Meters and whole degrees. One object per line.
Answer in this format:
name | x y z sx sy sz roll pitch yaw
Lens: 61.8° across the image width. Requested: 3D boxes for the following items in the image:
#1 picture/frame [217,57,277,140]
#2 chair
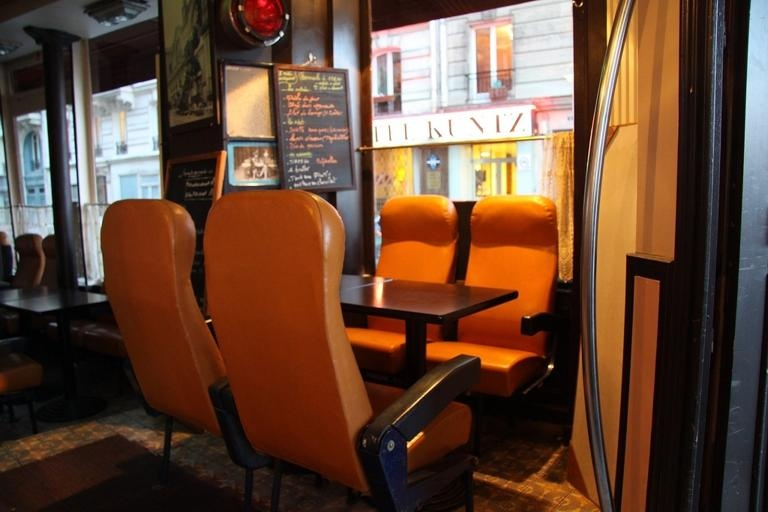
picture/frame | -0.946 -1.085 4.505 0.383 0.520 0.070 -9 12 -40
chair | -0.831 0.522 2.994 2.257 1.663 0.963 4 11 32
